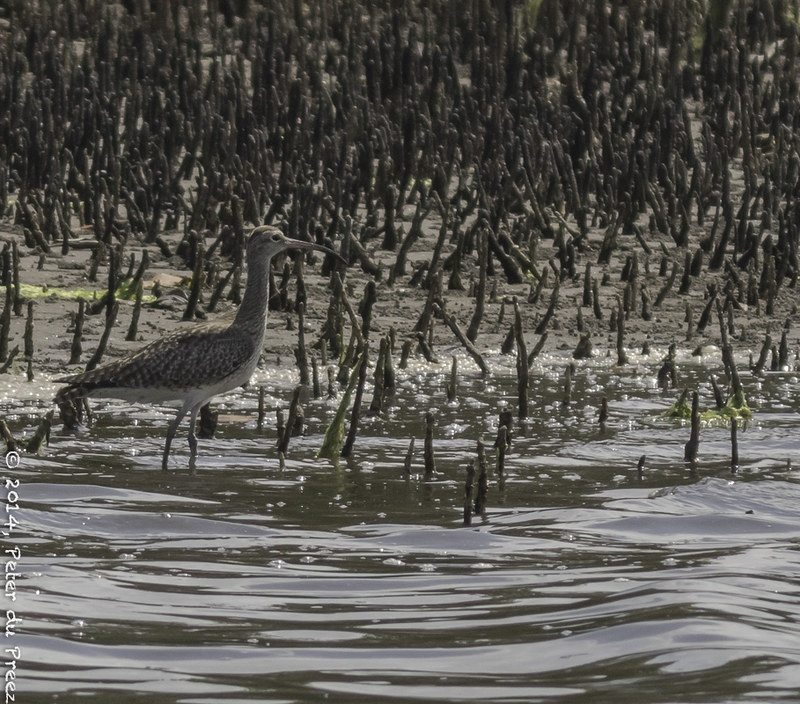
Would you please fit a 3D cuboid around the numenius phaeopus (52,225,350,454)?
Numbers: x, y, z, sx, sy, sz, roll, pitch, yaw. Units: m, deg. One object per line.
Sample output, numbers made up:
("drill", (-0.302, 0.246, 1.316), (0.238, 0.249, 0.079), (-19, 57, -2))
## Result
("numenius phaeopus", (-1.008, 0.007, 6.980), (1.503, 1.066, 0.441), (-2, 8, 4))
